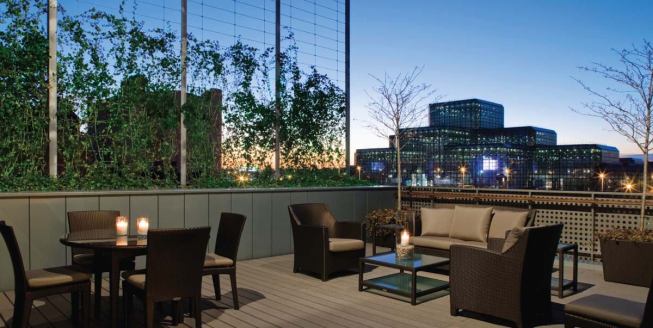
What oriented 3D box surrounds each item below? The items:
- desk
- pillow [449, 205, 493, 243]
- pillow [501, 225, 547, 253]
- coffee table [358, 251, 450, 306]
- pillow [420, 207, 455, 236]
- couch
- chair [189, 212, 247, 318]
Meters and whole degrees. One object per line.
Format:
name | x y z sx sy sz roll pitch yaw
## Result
desk | -4.758 2.772 10.818 2.447 2.466 1.430 3 -1 -2
pillow | 3.864 1.506 12.390 0.773 1.120 0.724 0 -1 -37
pillow | 4.292 1.627 10.044 0.599 0.508 0.211 10 32 -22
coffee table | 1.867 2.681 11.259 2.134 1.067 1.159 0 -1 11
pillow | 3.074 1.613 12.868 0.449 0.821 1.228 19 -15 -32
couch | 3.709 1.894 12.266 1.608 1.519 3.036 2 -1 -45
chair | -2.245 2.142 10.679 1.290 1.966 1.193 4 -6 -41
